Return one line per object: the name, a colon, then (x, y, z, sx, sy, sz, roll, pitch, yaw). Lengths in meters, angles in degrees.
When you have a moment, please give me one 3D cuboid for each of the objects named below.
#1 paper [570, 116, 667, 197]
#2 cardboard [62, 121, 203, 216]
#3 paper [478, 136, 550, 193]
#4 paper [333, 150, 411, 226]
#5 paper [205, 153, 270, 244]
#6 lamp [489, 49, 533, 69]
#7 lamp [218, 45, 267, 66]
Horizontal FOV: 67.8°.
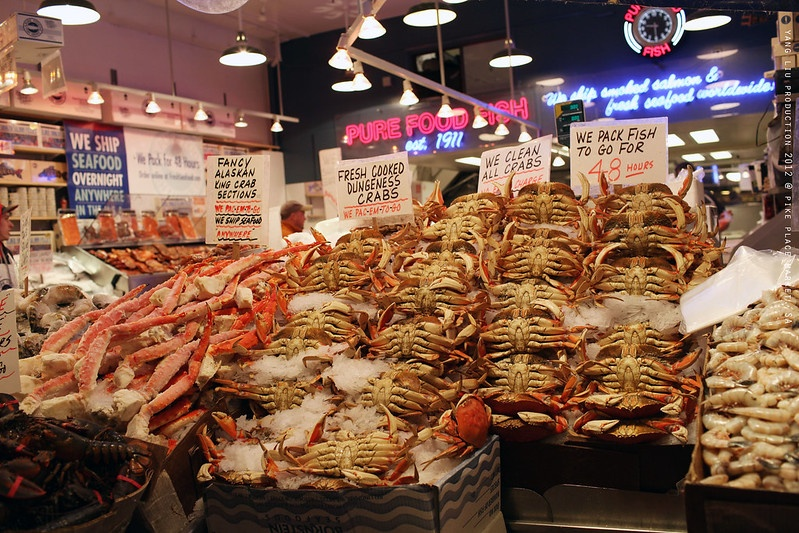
paper: (1.191, -0.591, 3.215, 0.573, 0.468, 0.074, 2, 5, 25)
cardboard: (-3.886, -1.354, 8.730, 2.543, 1.418, 0.086, 9, 17, 19)
paper: (0.683, -0.560, 3.537, 0.046, 0.351, 0.519, 13, -14, -41)
paper: (-0.156, -0.435, 3.340, 0.519, 0.349, 0.054, -12, 25, -30)
paper: (-0.998, -0.418, 3.706, 0.597, 0.659, 0.079, 2, 3, 30)
lamp: (1.407, -2.553, 7.298, 0.419, 0.129, 0.476, -3, 0, -19)
lamp: (-1.713, -2.319, 6.612, 0.392, 0.189, 0.472, -3, 1, -38)
